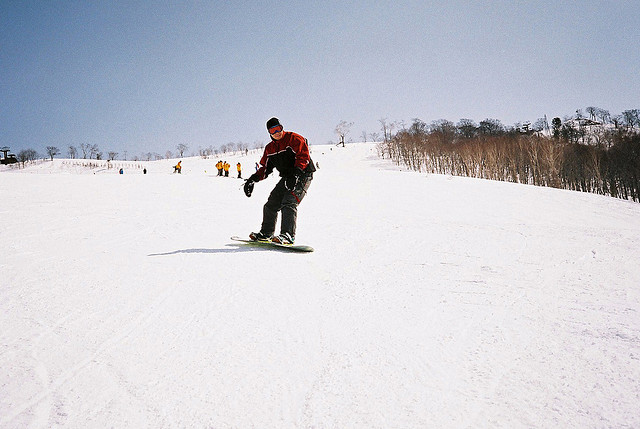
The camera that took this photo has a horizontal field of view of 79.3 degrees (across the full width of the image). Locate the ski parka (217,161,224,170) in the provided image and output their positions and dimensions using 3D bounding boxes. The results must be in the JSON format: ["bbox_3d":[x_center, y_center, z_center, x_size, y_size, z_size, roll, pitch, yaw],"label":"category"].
[{"bbox_3d":[-8.420,-4.139,32.359,0.496,0.635,1.535,-1,7,-15],"label":"ski parka"}]

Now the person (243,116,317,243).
[{"bbox_3d":[-0.849,-0.724,7.939,1.229,2.442,0.975,2,6,17],"label":"person"}]

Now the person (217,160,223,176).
[{"bbox_3d":[-8.411,-3.857,32.152,0.385,1.149,1.448,-1,6,-16],"label":"person"}]
